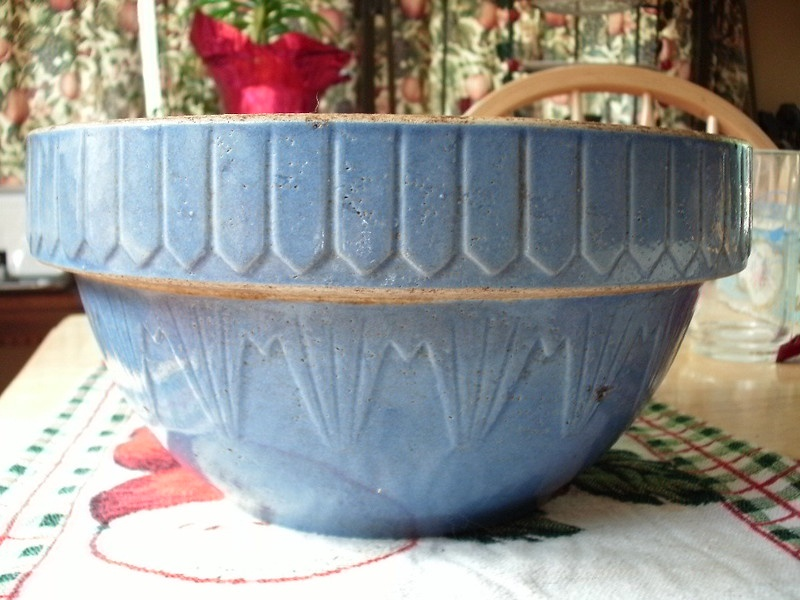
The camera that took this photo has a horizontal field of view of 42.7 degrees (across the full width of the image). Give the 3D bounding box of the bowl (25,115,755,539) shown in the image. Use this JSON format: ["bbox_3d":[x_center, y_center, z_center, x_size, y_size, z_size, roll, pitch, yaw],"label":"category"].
[{"bbox_3d":[-0.002,0.024,0.753,0.485,0.239,0.466,-1,3,0],"label":"bowl"}]
